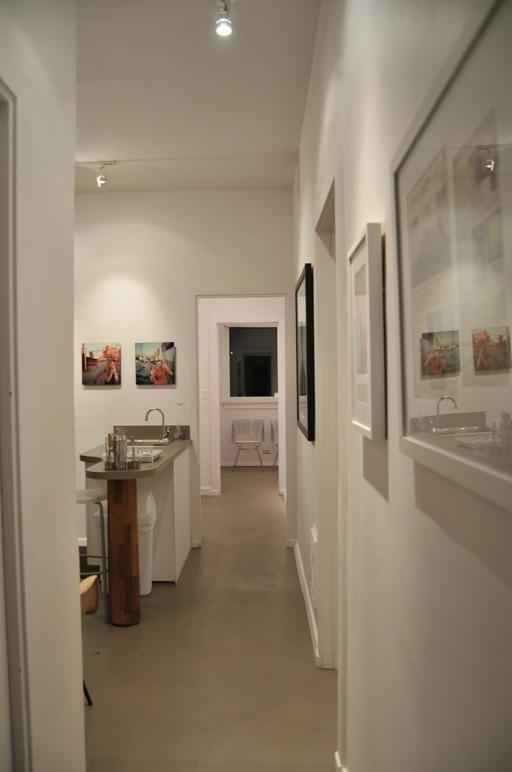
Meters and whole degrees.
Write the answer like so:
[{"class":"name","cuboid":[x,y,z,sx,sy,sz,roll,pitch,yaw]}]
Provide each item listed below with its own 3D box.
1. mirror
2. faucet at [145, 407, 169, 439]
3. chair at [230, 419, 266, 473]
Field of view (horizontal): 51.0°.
[{"class":"mirror","cuboid":[-0.073,-0.323,8.927,0.867,0.113,1.713,0,-42,-2]},{"class":"faucet","cuboid":[-0.854,0.316,4.583,0.219,0.193,0.179,-1,-1,0]},{"class":"chair","cuboid":[-0.121,0.943,8.695,0.474,1.028,0.600,0,-7,0]}]
